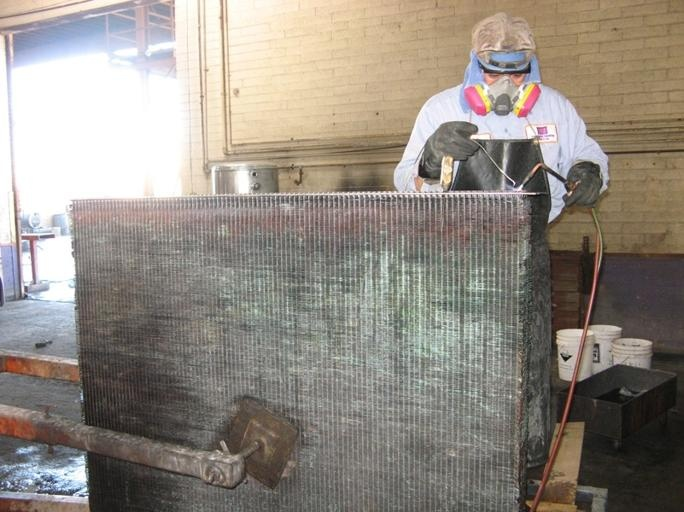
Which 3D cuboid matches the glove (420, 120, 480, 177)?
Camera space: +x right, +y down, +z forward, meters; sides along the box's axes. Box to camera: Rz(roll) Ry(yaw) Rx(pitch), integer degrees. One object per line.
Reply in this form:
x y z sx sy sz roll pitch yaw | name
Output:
0.545 -0.538 3.264 0.217 0.285 0.397 0 5 -15 | glove

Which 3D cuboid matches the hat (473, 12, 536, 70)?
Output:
0.872 -1.178 3.464 0.296 0.320 0.261 1 5 2 | hat

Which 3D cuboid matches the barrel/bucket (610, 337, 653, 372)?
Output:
2.440 0.829 5.441 0.339 0.267 0.307 0 0 0 | barrel/bucket

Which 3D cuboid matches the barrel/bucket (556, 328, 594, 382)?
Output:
2.135 0.923 5.718 0.379 0.357 0.367 6 -10 1 | barrel/bucket

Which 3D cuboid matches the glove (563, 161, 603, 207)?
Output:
1.252 -0.340 3.334 0.209 0.132 0.320 -2 39 20 | glove
